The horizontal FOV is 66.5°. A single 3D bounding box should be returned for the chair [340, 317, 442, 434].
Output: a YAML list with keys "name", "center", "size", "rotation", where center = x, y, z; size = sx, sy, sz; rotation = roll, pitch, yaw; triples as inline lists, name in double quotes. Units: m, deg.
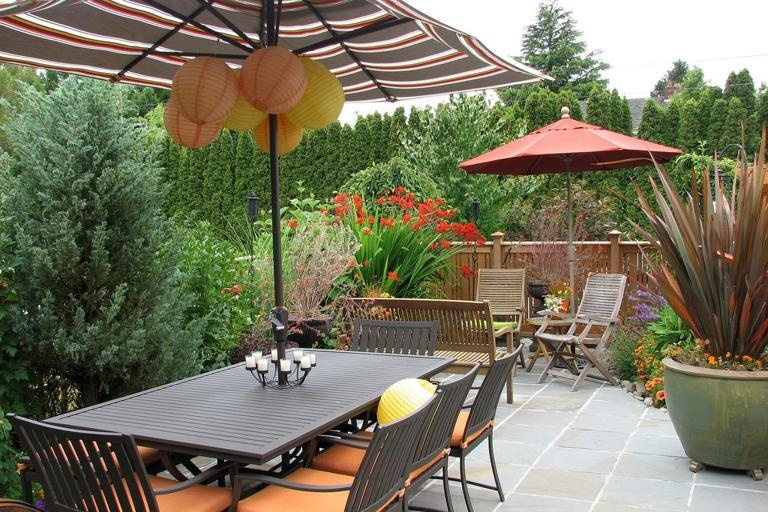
- name: "chair"
  center: [0.143, 1.082, 5.896]
  size: [0.764, 1.363, 0.912]
  rotation: [1, -2, 13]

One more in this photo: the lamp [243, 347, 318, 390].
- name: "lamp"
  center: [-0.791, 0.887, 4.561]
  size: [0.500, 0.267, 0.516]
  rotation: [0, 0, 5]

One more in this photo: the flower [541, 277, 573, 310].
- name: "flower"
  center: [2.845, 0.646, 9.606]
  size: [0.534, 0.585, 0.562]
  rotation: [-1, 1, 38]

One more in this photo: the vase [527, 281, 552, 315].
- name: "vase"
  center: [2.845, 0.779, 10.656]
  size: [0.476, 0.610, 0.458]
  rotation: [-1, 1, -43]

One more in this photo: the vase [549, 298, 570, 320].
- name: "vase"
  center: [2.825, 0.866, 9.317]
  size: [0.373, 0.323, 0.411]
  rotation: [0, -5, -5]

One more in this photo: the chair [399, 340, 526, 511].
- name: "chair"
  center: [0.663, 1.386, 5.503]
  size: [1.259, 1.933, 1.091]
  rotation: [2, 3, 22]
